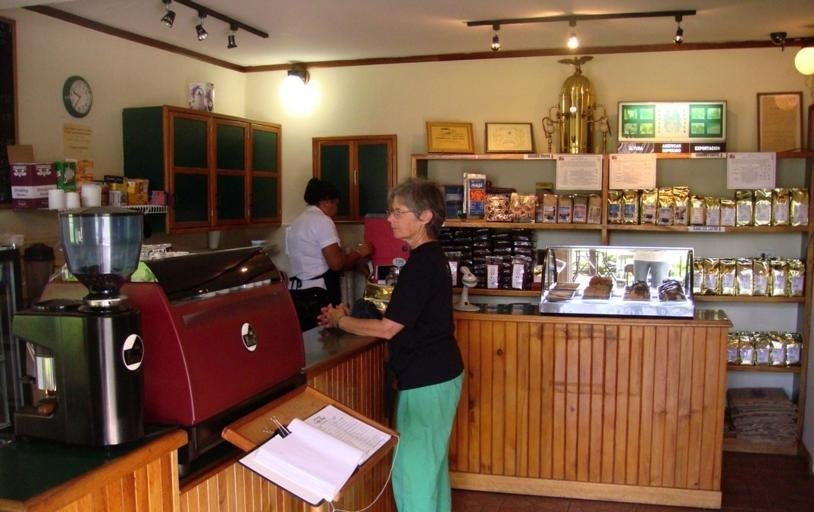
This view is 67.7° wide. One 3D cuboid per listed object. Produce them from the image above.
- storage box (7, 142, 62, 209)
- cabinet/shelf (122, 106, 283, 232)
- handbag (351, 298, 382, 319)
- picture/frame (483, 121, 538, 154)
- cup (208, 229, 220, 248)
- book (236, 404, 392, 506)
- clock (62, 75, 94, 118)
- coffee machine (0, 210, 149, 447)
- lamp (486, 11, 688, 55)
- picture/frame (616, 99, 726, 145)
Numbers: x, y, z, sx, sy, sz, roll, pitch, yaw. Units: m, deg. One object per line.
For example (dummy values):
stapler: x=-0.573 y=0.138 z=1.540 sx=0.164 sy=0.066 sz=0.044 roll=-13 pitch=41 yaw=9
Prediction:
storage box: x=-2.776 y=-0.604 z=4.466 sx=0.313 sy=0.465 sz=0.173 roll=-1 pitch=6 yaw=4
cabinet/shelf: x=-1.894 y=-0.817 z=5.525 sx=0.504 sy=0.917 sz=1.514 roll=0 pitch=2 yaw=26
handbag: x=-0.240 y=0.298 z=3.538 sx=0.139 sy=0.049 sz=0.108 roll=17 pitch=10 yaw=40
picture/frame: x=1.003 y=-1.153 z=5.806 sx=0.402 sy=0.267 sz=0.052 roll=-1 pitch=-16 yaw=0
cup: x=-1.949 y=-0.196 z=6.124 sx=0.140 sy=0.182 sz=0.116 roll=16 pitch=19 yaw=41
book: x=-0.393 y=0.834 z=2.526 sx=0.341 sy=0.079 sz=0.477 roll=18 pitch=19 yaw=21
clock: x=-2.707 y=-1.336 z=5.020 sx=0.065 sy=0.343 sz=0.286 roll=0 pitch=7 yaw=16
coffee machine: x=-1.243 y=0.269 z=2.300 sx=0.496 sy=0.904 sz=0.229 roll=-4 pitch=7 yaw=-23
lamp: x=1.475 y=-1.896 z=5.143 sx=1.762 sy=0.247 sz=0.513 roll=0 pitch=7 yaw=10
picture/frame: x=2.385 y=-1.233 z=5.484 sx=0.909 sy=0.386 sz=0.106 roll=0 pitch=7 yaw=6
